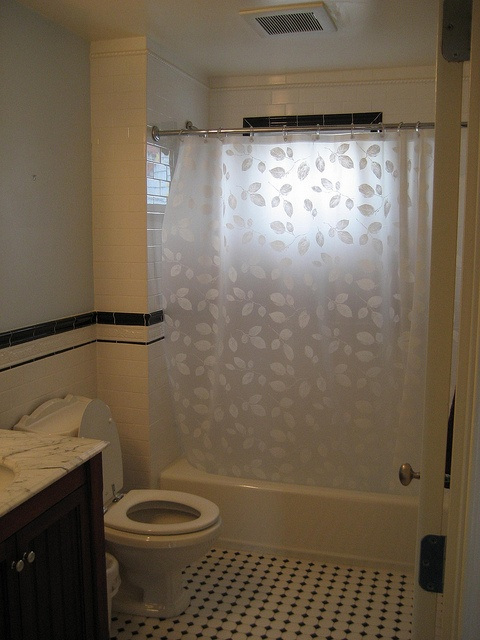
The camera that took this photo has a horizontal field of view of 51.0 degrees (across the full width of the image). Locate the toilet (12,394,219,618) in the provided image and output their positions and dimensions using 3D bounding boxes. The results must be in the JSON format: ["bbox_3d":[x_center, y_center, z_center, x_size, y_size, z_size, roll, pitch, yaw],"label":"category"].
[{"bbox_3d":[-0.453,0.745,2.511,0.893,1.208,0.598,1,4,10],"label":"toilet"}]
